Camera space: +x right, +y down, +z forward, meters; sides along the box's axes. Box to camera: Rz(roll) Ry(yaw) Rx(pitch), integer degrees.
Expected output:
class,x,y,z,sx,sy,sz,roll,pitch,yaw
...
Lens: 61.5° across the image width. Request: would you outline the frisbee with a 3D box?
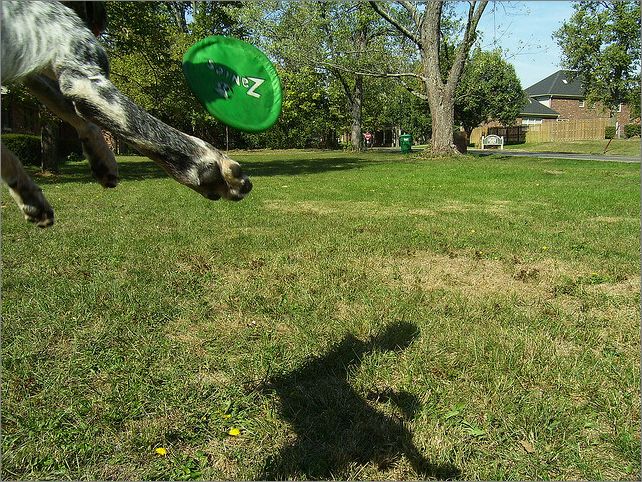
class,x,y,z,sx,sy,sz,roll,pitch,yaw
frisbee,-0.492,-0.903,3.112,0.625,0.653,0.057,-3,-18,-39
